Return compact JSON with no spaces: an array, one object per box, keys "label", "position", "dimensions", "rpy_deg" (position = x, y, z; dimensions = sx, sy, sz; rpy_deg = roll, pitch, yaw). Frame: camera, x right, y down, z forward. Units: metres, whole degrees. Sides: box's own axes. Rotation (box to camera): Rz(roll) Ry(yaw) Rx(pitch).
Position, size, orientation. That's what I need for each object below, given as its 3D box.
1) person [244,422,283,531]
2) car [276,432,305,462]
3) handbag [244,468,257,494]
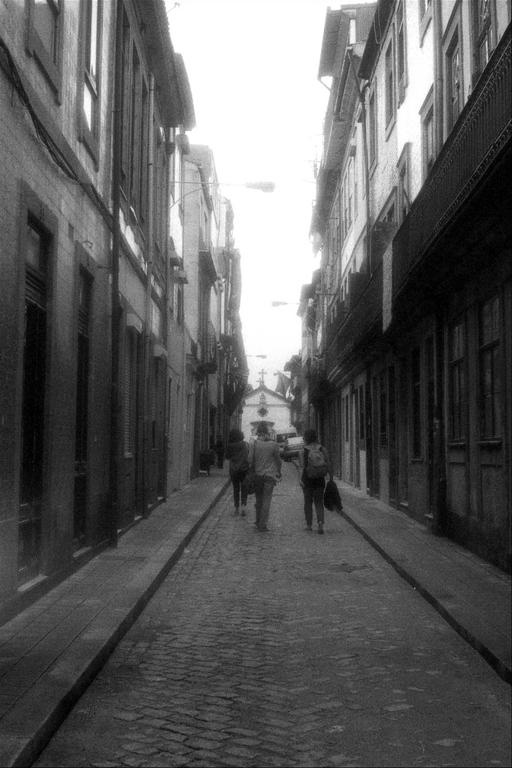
[{"label":"person","position":[0.146,1.660,13.171],"dimensions":[0.556,1.929,1.407],"rpy_deg":[1,-4,0]},{"label":"car","position":[2.574,4.455,52.445],"dimensions":[1.355,2.550,4.226],"rpy_deg":[-3,1,0]},{"label":"handbag","position":[-0.108,1.806,13.590],"dimensions":[0.168,0.191,0.584],"rpy_deg":[-20,-45,-18]}]
